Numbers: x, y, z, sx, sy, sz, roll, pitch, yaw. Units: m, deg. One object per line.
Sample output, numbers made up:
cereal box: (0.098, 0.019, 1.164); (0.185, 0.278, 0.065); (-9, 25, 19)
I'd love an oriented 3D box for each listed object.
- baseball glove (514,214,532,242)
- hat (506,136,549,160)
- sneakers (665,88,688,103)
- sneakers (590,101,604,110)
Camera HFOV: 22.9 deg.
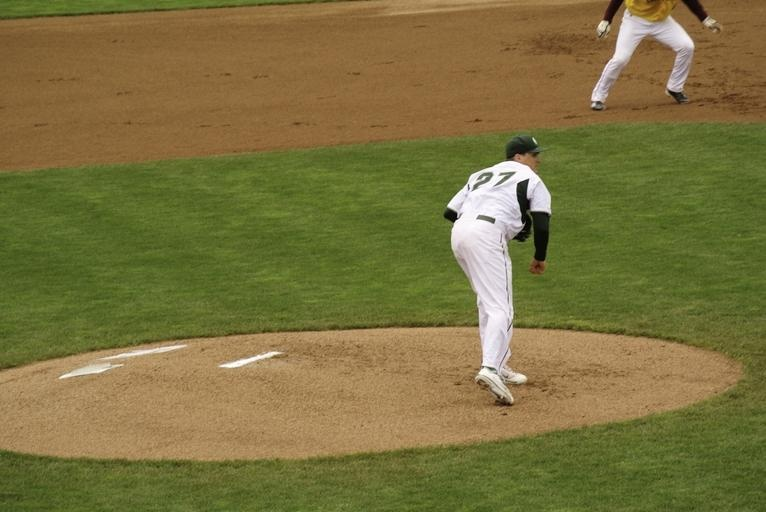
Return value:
baseball glove: (2.039, -0.401, 27.685); (0.212, 0.382, 0.108); (21, 0, -41)
hat: (2.071, -1.578, 27.776); (0.477, 0.224, 0.315); (-5, 13, -7)
sneakers: (5.314, -2.871, 34.265); (0.472, 0.199, 0.161); (18, 47, -36)
sneakers: (3.906, -2.720, 34.497); (0.219, 0.172, 0.129); (1, 31, 11)
